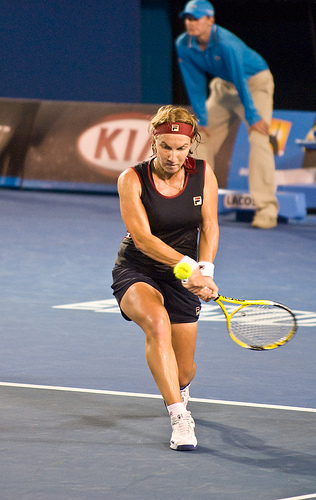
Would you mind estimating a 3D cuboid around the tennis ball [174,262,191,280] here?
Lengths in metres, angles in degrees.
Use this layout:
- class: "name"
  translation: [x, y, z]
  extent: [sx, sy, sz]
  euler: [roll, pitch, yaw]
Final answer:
- class: "tennis ball"
  translation: [0.111, 0.102, 2.340]
  extent: [0.078, 0.089, 0.059]
  euler: [-4, 35, 2]

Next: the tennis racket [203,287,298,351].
- class: "tennis racket"
  translation: [0.551, 0.417, 2.766]
  extent: [0.659, 0.253, 0.065]
  euler: [21, 27, -40]

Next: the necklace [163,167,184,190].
- class: "necklace"
  translation: [0.075, -0.330, 2.494]
  extent: [0.087, 0.087, 0.108]
  euler: [-1, -11, 0]

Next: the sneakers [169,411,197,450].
- class: "sneakers"
  translation: [0.103, 0.750, 2.237]
  extent: [0.111, 0.160, 0.131]
  euler: [-4, 34, 2]

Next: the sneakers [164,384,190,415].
- class: "sneakers"
  translation: [0.100, 0.717, 2.720]
  extent: [0.082, 0.204, 0.094]
  euler: [-7, -9, -7]
